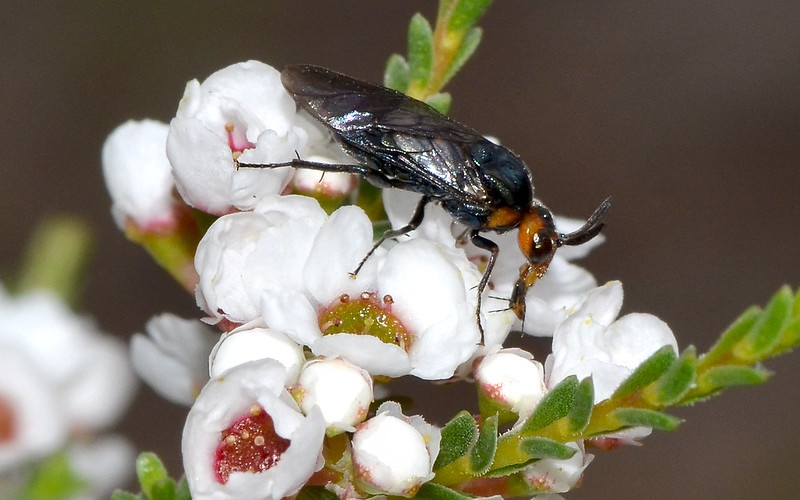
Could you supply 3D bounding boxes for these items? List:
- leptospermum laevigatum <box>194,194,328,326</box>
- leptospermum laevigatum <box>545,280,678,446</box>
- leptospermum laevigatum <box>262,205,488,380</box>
[{"bbox_3d":[-0.387,0.027,2.407,0.311,0.366,0.265,22,25,22],"label":"leptospermum laevigatum"},{"bbox_3d":[0.579,0.328,2.392,0.330,0.380,0.323,23,26,24],"label":"leptospermum laevigatum"},{"bbox_3d":[-0.101,0.140,2.454,0.580,0.505,0.543,-23,22,-33],"label":"leptospermum laevigatum"}]
